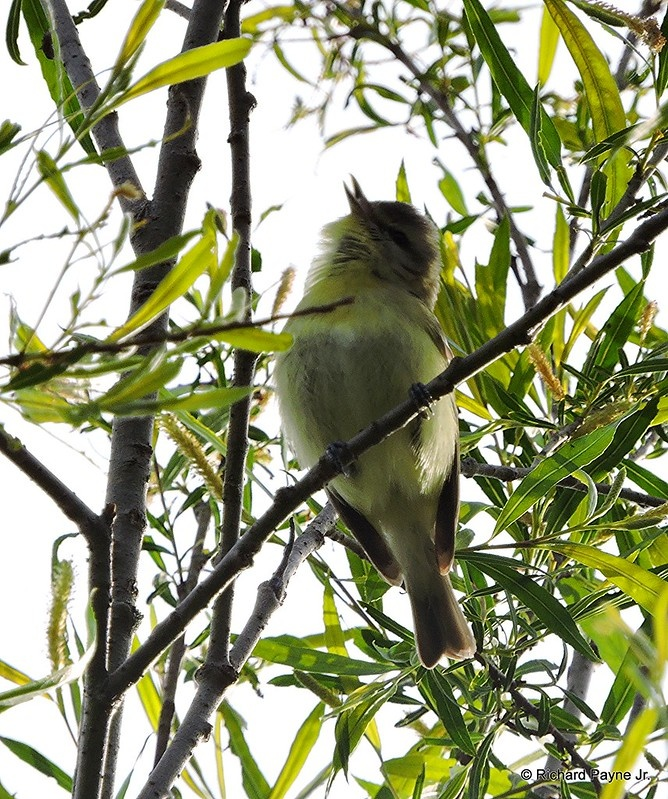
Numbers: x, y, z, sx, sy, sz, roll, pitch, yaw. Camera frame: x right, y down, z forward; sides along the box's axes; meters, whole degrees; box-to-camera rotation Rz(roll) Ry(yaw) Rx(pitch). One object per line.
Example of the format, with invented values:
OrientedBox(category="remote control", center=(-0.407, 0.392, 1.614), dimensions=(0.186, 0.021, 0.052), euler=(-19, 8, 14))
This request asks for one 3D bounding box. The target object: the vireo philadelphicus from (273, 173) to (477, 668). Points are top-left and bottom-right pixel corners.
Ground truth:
OrientedBox(category="vireo philadelphicus", center=(0.142, -0.002, 4.321), dimensions=(0.555, 0.734, 1.732), euler=(-5, -82, -7))
